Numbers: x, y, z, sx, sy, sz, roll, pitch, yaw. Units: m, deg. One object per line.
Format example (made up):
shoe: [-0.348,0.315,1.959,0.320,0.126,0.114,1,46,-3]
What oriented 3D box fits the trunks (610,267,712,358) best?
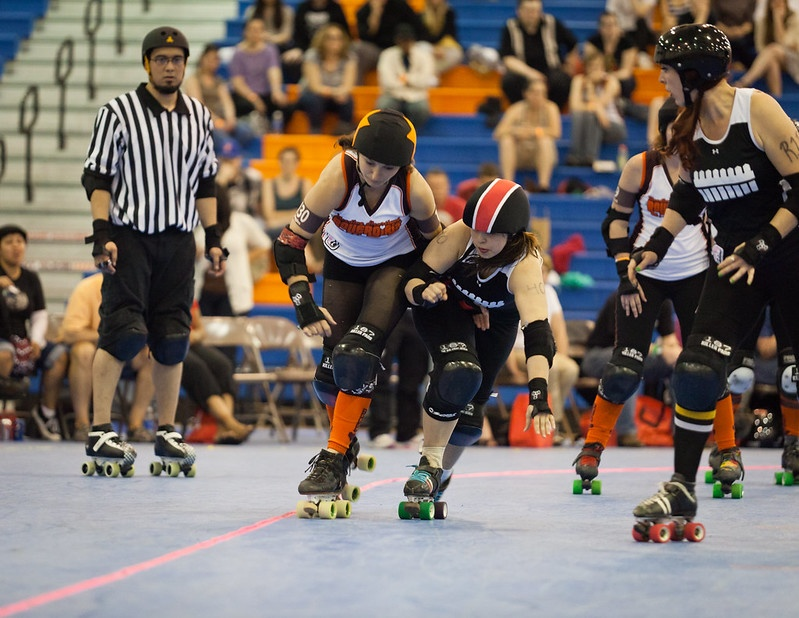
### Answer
trunks: [1.634,0.076,7.486,0.443,0.622,0.212,9,-18,-14]

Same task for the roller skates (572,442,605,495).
roller skates: [1.178,0.972,7.310,0.179,0.288,0.378,3,3,10]

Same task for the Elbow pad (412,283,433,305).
Elbow pad: [0.125,-0.074,6.212,0.104,0.124,0.165,3,3,16]

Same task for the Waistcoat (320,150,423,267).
Waistcoat: [-0.157,-0.470,6.552,0.618,0.898,0.486,3,11,-6]

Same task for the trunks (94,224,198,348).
trunks: [-1.582,-0.150,7.300,0.555,0.977,0.329,6,0,-35]

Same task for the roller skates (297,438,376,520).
roller skates: [-0.342,0.943,6.472,0.182,0.338,0.696,-2,2,13]

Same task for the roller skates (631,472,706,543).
roller skates: [1.342,0.983,5.743,0.328,0.404,0.228,5,-7,-22]

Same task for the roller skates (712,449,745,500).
roller skates: [2.098,1.011,7.354,0.143,0.330,0.515,-2,-7,13]

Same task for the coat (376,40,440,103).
coat: [0.123,-2.823,14.931,0.842,1.193,0.629,1,-14,-1]

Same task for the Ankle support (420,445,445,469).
Ankle support: [0.182,0.776,6.377,0.109,0.132,0.102,13,20,2]

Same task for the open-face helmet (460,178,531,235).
open-face helmet: [0.496,-0.534,6.167,0.244,0.261,0.330,27,-14,44]

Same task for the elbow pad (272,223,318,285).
elbow pad: [-0.586,-0.283,6.448,0.202,0.320,0.123,-18,10,-23]

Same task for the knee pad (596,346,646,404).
knee pad: [1.369,0.414,7.283,0.194,0.399,0.172,15,37,-1]

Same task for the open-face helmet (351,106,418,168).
open-face helmet: [-0.057,-0.886,6.137,0.257,0.202,0.319,19,32,-14]

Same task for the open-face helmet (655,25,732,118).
open-face helmet: [1.508,-1.207,5.996,0.318,0.445,0.312,0,4,11]

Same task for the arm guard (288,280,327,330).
arm guard: [-0.503,0.004,6.388,0.165,0.259,0.063,-21,-24,-3]

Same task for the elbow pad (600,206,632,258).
elbow pad: [1.370,-0.456,7.432,0.192,0.310,0.107,8,-10,-15]

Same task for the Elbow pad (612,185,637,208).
Elbow pad: [1.437,-0.693,7.439,0.117,0.112,0.131,7,5,-2]

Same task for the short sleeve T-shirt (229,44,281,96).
short sleeve T-shirt: [-1.823,-3.004,15.148,0.765,0.899,0.479,-1,3,-1]

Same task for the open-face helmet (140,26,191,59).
open-face helmet: [-1.456,-1.634,7.307,0.273,0.200,0.189,2,3,-9]

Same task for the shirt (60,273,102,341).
shirt: [-2.795,0.001,10.301,0.279,0.476,0.525,21,5,23]

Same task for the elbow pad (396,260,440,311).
elbow pad: [0.103,-0.150,6.285,0.246,0.197,0.098,-40,-7,-32]

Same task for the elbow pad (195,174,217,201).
elbow pad: [-1.252,-0.750,7.613,0.141,0.233,0.127,5,-18,-7]

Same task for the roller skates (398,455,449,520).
roller skates: [0.133,0.936,6.323,0.253,0.297,0.355,2,3,2]

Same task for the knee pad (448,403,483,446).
knee pad: [0.358,0.616,6.432,0.140,0.208,0.106,25,-1,-13]

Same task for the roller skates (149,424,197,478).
roller skates: [-1.433,0.905,7.442,0.164,0.374,0.444,4,-6,-38]

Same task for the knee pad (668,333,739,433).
knee pad: [1.515,0.346,5.837,0.248,0.498,0.193,7,19,1]

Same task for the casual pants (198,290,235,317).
casual pants: [-1.860,-0.060,11.898,0.285,0.433,0.224,0,3,-11]

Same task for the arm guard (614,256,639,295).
arm guard: [1.374,-0.199,7.063,0.100,0.080,0.307,8,24,8]
